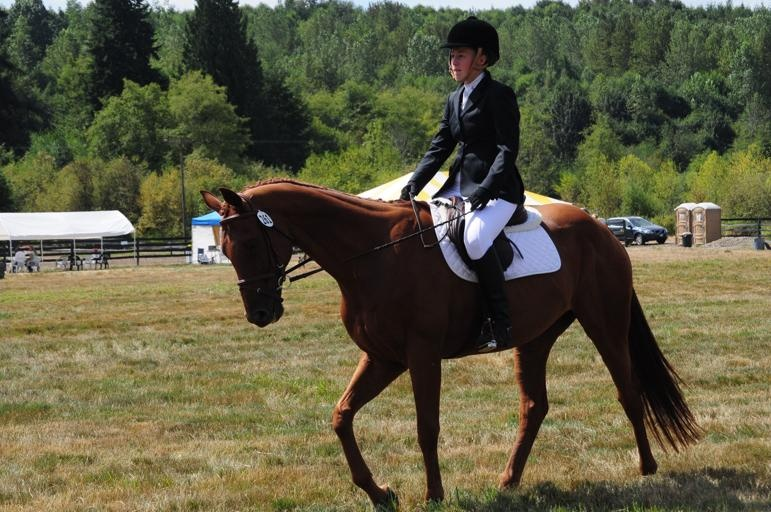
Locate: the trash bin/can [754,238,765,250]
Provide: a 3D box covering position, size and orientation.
[{"bbox_3d":[36.603,-1.212,121.236,0.946,1.201,1.024,1,3,10],"label":"trash bin/can"}]

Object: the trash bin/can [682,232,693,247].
[{"bbox_3d":[30.473,-1.630,125.368,1.109,1.829,1.108,-1,-4,-3],"label":"trash bin/can"}]
